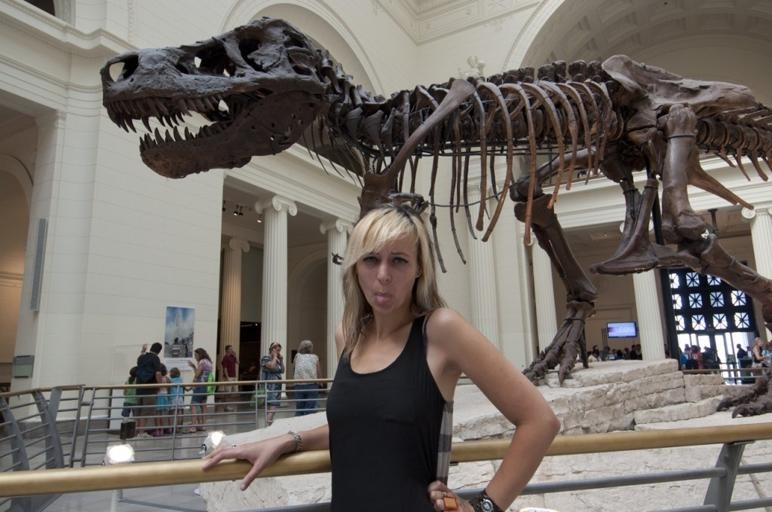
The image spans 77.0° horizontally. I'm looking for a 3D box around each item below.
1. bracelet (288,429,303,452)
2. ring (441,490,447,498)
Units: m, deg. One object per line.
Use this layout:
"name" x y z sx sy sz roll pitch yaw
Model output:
"bracelet" -0.427 0.870 2.292 0.033 0.078 0.084 -12 30 -32
"ring" 0.249 1.003 2.033 0.013 0.016 0.025 -9 -11 35
